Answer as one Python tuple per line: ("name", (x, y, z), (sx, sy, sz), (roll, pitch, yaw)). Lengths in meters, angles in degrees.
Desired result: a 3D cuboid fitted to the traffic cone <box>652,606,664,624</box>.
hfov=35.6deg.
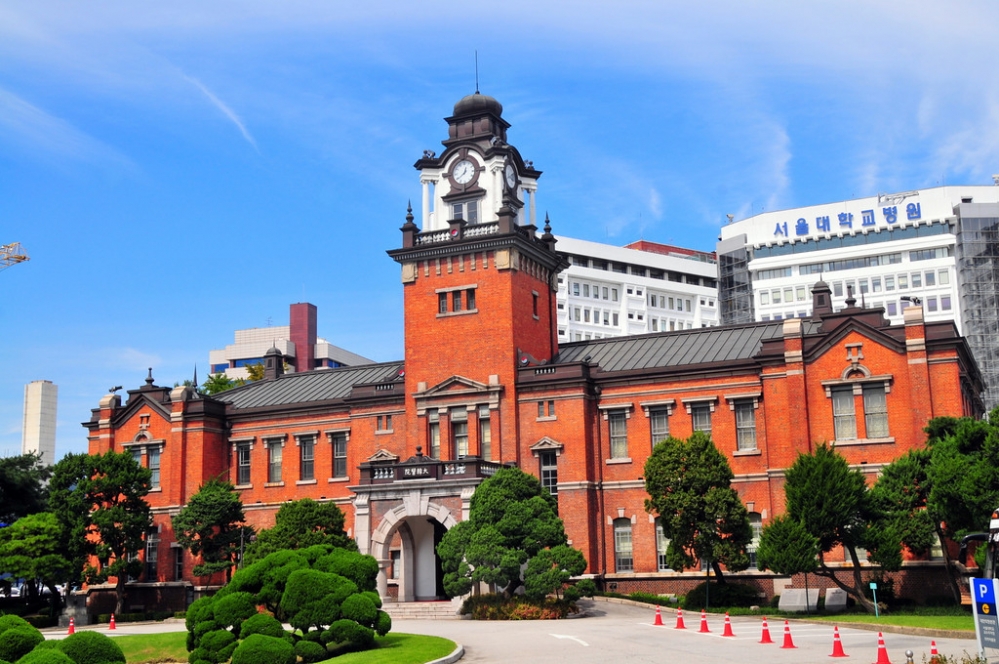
("traffic cone", (8.455, 15.255, 82.855), (0.645, 0.768, 0.635), (-12, -12, 43))
